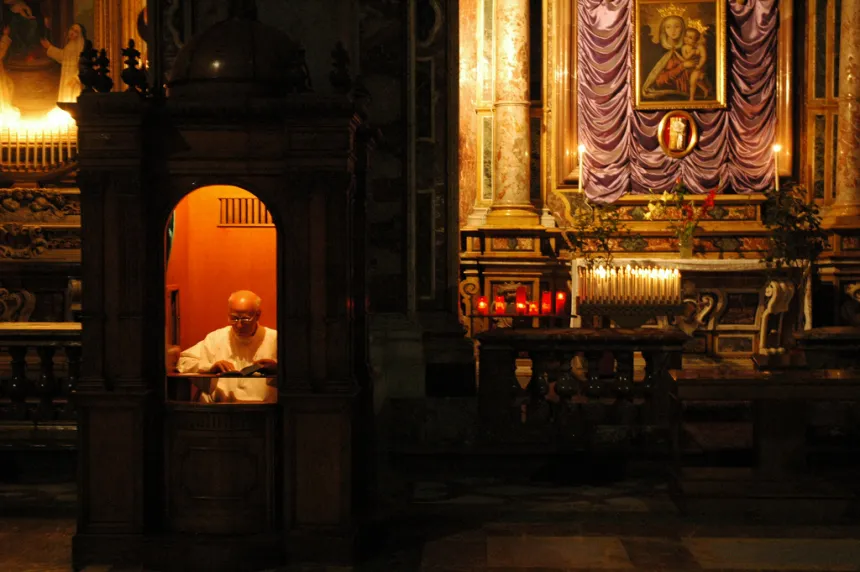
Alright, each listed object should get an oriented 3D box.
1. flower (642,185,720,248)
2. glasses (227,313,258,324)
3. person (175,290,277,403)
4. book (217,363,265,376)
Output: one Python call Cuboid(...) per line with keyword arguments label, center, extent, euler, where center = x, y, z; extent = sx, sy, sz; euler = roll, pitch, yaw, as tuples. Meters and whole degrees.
Cuboid(label="flower", center=(3.783, -1.007, 20.878), extent=(1.112, 0.997, 1.064), euler=(-1, 3, 9))
Cuboid(label="glasses", center=(-1.694, 0.299, 12.726), extent=(0.244, 0.086, 0.097), euler=(-1, 3, -6))
Cuboid(label="person", center=(-1.816, 0.567, 12.823), extent=(0.999, 0.987, 0.860), euler=(1, 11, -11))
Cuboid(label="book", center=(-1.692, 0.751, 12.591), extent=(0.420, 0.108, 0.123), euler=(0, 3, 17))
